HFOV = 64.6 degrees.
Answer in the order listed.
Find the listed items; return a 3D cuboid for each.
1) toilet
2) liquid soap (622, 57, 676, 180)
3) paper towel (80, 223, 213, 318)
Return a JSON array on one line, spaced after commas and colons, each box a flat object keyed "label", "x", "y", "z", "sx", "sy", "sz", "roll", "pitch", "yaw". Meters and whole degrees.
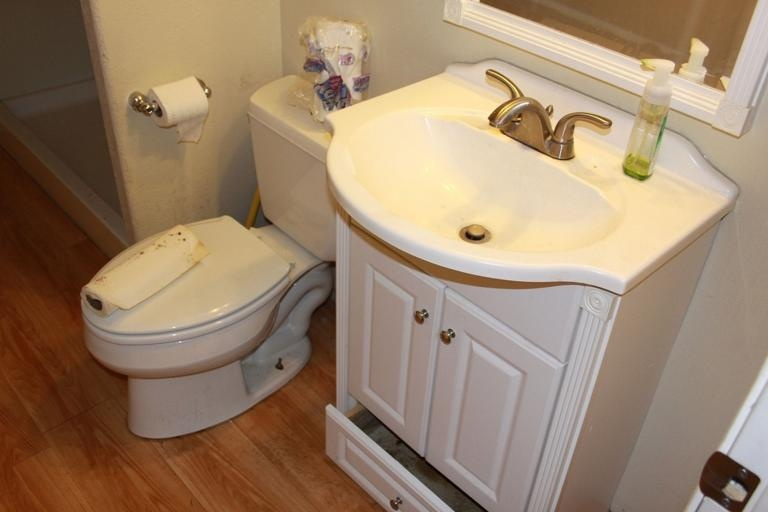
[{"label": "toilet", "x": -0.551, "y": 0.077, "z": 2.046, "sx": 0.515, "sy": 1.014, "sz": 0.897, "roll": 34, "pitch": 41, "yaw": 31}, {"label": "liquid soap", "x": 0.594, "y": -0.303, "z": 1.363, "sx": 0.066, "sy": 0.245, "sz": 0.111, "roll": 14, "pitch": 44, "yaw": 19}, {"label": "paper towel", "x": -0.717, "y": 0.052, "z": 1.883, "sx": 0.203, "sy": 0.127, "sz": 0.357, "roll": 28, "pitch": 59, "yaw": 21}]
